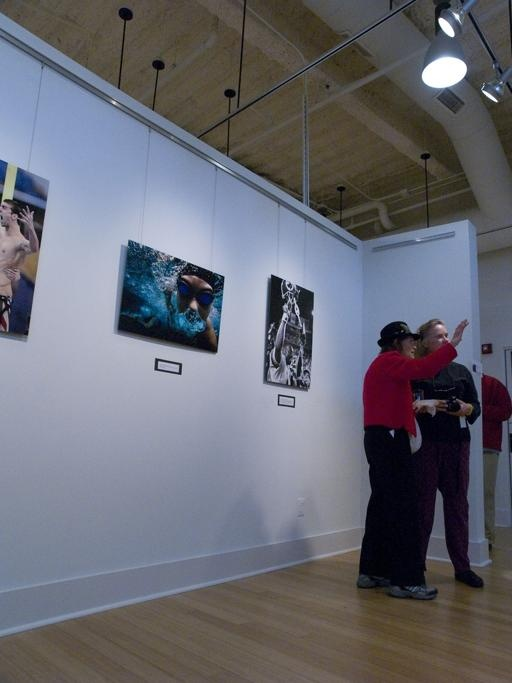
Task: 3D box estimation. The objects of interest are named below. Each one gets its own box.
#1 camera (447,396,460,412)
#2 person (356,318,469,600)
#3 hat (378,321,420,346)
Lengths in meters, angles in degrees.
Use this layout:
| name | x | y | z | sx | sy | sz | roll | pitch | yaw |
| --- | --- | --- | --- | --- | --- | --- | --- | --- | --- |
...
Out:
| name | x | y | z | sx | sy | sz | roll | pitch | yaw |
| --- | --- | --- | --- | --- | --- | --- | --- | --- | --- |
| camera | 1.375 | 0.440 | 3.613 | 0.062 | 0.098 | 0.103 | 1 | -19 | 3 |
| person | 0.946 | 0.719 | 3.220 | 0.408 | 1.628 | 0.740 | 7 | -15 | -20 |
| hat | 0.954 | -0.032 | 3.464 | 0.204 | 0.083 | 0.174 | -28 | -10 | 24 |
